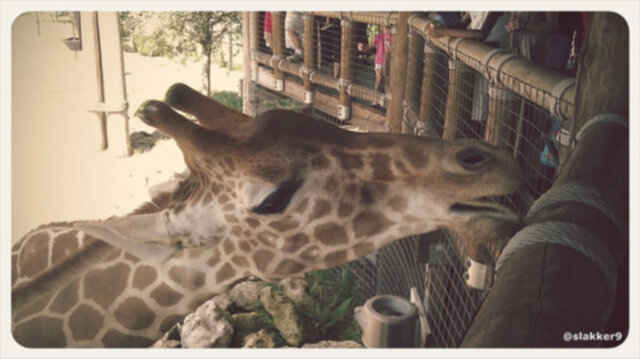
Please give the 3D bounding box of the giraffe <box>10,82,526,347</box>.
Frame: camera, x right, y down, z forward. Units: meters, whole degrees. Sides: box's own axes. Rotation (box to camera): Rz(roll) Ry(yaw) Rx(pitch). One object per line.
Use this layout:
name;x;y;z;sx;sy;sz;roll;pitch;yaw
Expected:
giraffe;-0.401;0.280;3.140;2.679;1.518;0.583;5;9;11
